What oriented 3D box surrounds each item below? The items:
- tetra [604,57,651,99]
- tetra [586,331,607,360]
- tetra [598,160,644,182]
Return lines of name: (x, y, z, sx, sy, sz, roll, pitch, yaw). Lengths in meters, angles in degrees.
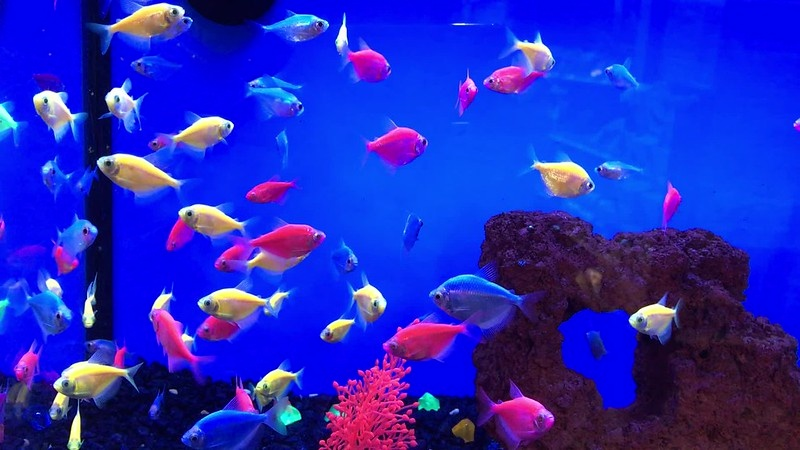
tetra: (2.273, -1.509, 7.848, 0.509, 0.327, 0.138, 11, 1, -27)
tetra: (2.017, 1.243, 7.958, 0.172, 0.290, 0.065, -18, 3, 12)
tetra: (2.226, -0.544, 7.885, 0.281, 0.223, 0.601, 15, 19, 33)
